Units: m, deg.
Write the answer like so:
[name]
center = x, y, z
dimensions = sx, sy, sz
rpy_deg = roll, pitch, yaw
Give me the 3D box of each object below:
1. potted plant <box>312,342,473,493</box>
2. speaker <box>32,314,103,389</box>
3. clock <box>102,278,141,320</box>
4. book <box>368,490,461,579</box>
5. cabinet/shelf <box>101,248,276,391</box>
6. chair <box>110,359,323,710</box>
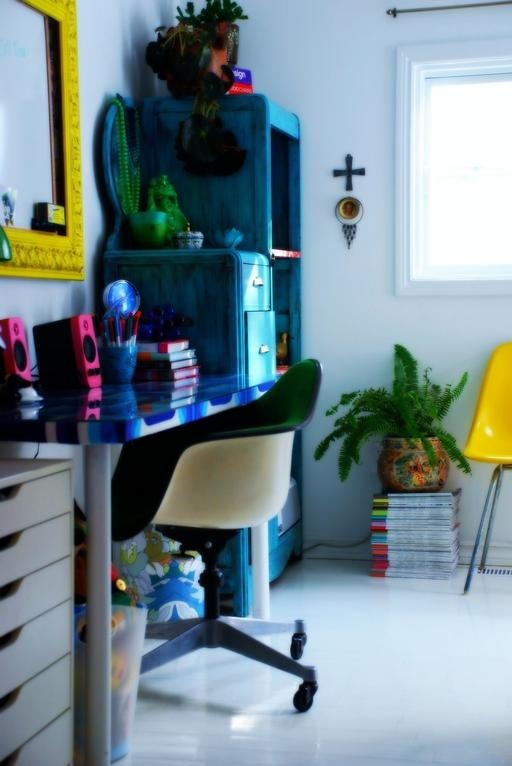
[potted plant]
center = 0.555, 0.200, 2.832
dimensions = 0.520, 0.535, 0.693
rpy_deg = 2, -2, -25
[speaker]
center = -0.454, -0.067, 1.623
dimensions = 0.124, 0.169, 0.094
rpy_deg = -8, 3, 7
[clock]
center = -0.384, -0.214, 1.879
dimensions = 0.118, 0.121, 0.084
rpy_deg = 2, -3, -44
[book]
center = 0.647, 0.581, 2.800
dimensions = 0.320, 0.308, 0.338
rpy_deg = 0, 1, 12
[cabinet/shelf]
center = -0.193, -0.223, 2.320
dimensions = 0.408, 0.596, 0.598
rpy_deg = -2, 0, 14
[chair]
center = -0.137, 0.359, 1.764
dimensions = 0.566, 0.768, 0.614
rpy_deg = 1, -2, 1
